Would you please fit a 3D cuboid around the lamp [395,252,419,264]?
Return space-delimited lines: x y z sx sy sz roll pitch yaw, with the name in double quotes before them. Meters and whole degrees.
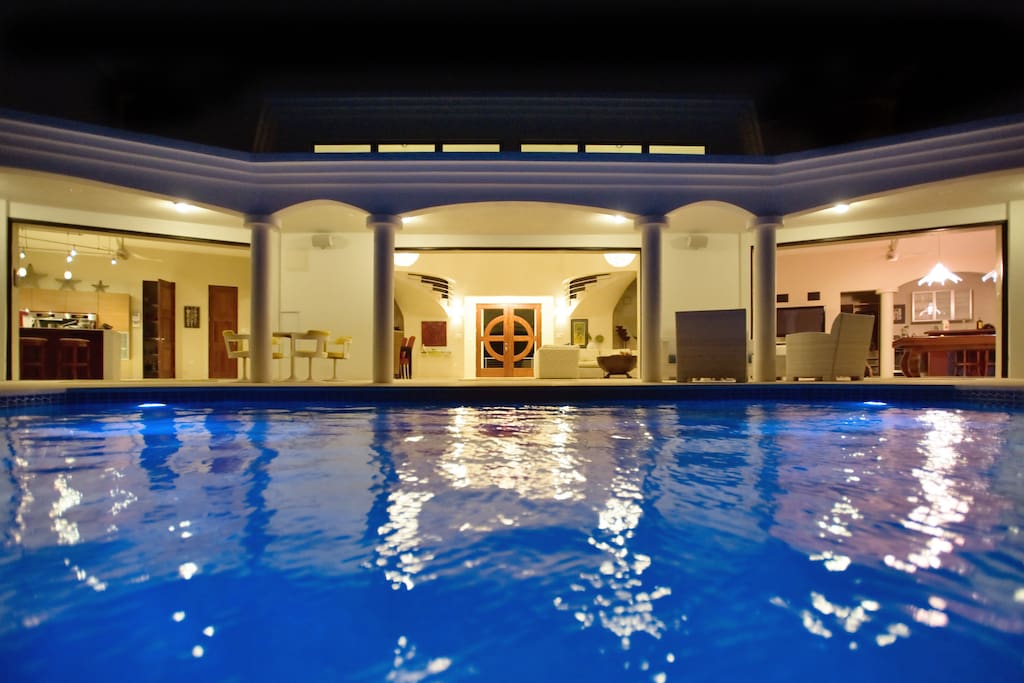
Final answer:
"lamp" -2.690 -2.133 18.727 0.504 0.106 0.498 -3 -4 27

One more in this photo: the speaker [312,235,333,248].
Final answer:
"speaker" -3.895 -2.048 14.962 0.338 0.228 0.224 -3 22 -5

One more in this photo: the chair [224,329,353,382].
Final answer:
"chair" -4.500 0.278 15.089 2.438 1.048 2.570 0 -1 -22

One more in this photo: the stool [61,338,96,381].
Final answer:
"stool" -8.972 0.348 14.917 0.784 0.933 0.750 1 -3 -23

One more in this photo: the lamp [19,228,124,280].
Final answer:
"lamp" -11.204 -2.114 18.370 2.285 1.186 1.158 0 -1 -21

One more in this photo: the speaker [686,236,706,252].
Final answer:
"speaker" 3.963 -2.115 15.462 0.540 0.331 0.266 0 8 5

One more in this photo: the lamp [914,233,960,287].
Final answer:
"lamp" 10.953 -2.243 18.549 0.934 1.254 0.866 1 0 -14
